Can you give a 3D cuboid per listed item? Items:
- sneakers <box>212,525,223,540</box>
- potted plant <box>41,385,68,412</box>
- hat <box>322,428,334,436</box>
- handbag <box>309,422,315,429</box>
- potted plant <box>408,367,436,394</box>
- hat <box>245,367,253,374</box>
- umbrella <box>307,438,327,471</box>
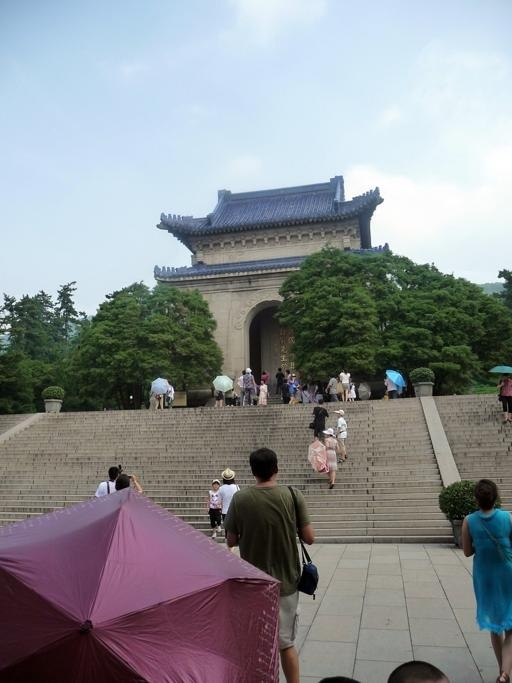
[{"bbox_3d":[-0.694,3.382,10.064,0.138,0.166,0.391,-3,-18,2],"label":"sneakers"},{"bbox_3d":[-7.748,2.233,21.710,0.734,0.980,1.648,-11,10,-20],"label":"potted plant"},{"bbox_3d":[1.552,1.881,11.874,0.256,0.102,0.330,7,-3,10],"label":"hat"},{"bbox_3d":[1.262,1.874,12.744,0.132,0.156,0.171,-1,-25,3],"label":"handbag"},{"bbox_3d":[5.487,1.340,18.730,1.001,1.003,0.858,0,-14,-1],"label":"potted plant"},{"bbox_3d":[-0.297,1.118,22.282,0.322,0.210,0.406,-2,-25,-1],"label":"hat"},{"bbox_3d":[1.286,2.379,11.897,0.532,0.580,0.253,-3,-1,-6],"label":"umbrella"}]
